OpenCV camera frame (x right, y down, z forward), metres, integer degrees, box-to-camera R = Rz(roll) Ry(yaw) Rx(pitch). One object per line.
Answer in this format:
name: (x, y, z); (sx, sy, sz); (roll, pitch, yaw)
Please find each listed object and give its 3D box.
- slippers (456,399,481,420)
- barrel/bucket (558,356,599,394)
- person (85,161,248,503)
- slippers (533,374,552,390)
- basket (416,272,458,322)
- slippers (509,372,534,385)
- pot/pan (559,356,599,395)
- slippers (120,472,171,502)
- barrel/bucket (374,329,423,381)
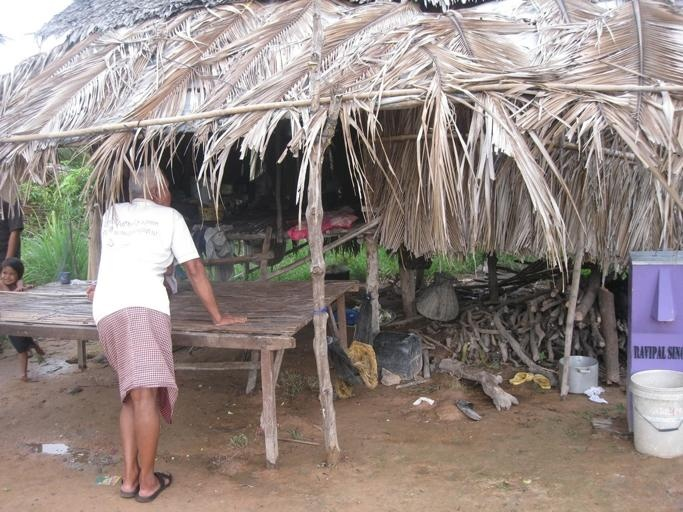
slippers: (1.397, 1.683, 6.767); (0.236, 0.063, 0.487); (-4, 13, -6)
barrel/bucket: (2.833, 1.395, 7.236); (0.375, 0.308, 0.410); (-6, 9, 1)
person: (-1.717, 0.646, 5.430); (0.768, 2.818, 0.913); (4, 15, 26)
slippers: (2.415, 1.490, 7.333); (0.184, 0.099, 0.269); (-5, 13, -10)
basket: (1.370, 0.566, 8.726); (0.604, 0.691, 0.380); (1, 14, 12)
slippers: (2.186, 1.470, 7.431); (0.319, 0.095, 0.171); (-5, 13, -11)
pot/pan: (2.836, 1.396, 7.248); (0.390, 0.320, 0.380); (-14, 11, -34)
slippers: (-1.667, 2.044, 5.410); (0.202, 0.101, 0.331); (4, 8, 14)
barrel/bucket: (0.742, 1.223, 7.896); (0.543, 0.481, 0.550); (1, 5, 0)
